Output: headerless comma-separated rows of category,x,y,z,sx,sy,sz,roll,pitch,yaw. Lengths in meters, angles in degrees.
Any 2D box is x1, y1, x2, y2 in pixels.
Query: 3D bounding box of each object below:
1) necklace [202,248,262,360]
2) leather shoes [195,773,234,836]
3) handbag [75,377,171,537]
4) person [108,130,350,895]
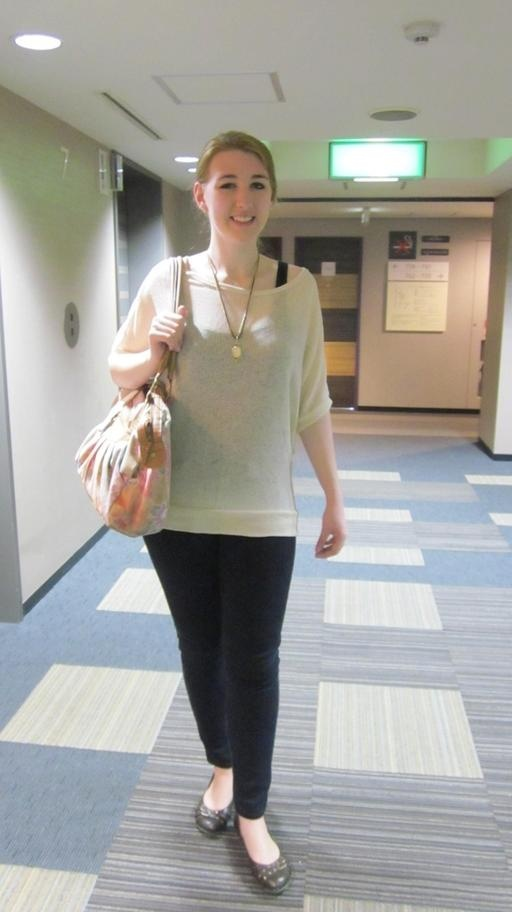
necklace,-0.051,-0.246,1.040,0.097,0.168,0.055,5,7,40
leather shoes,-0.099,0.860,1.543,0.074,0.067,0.219,14,10,6
handbag,-0.214,-0.010,1.011,0.101,0.245,0.200,3,18,-42
person,-0.063,0.204,1.219,0.346,1.508,0.455,4,7,34
